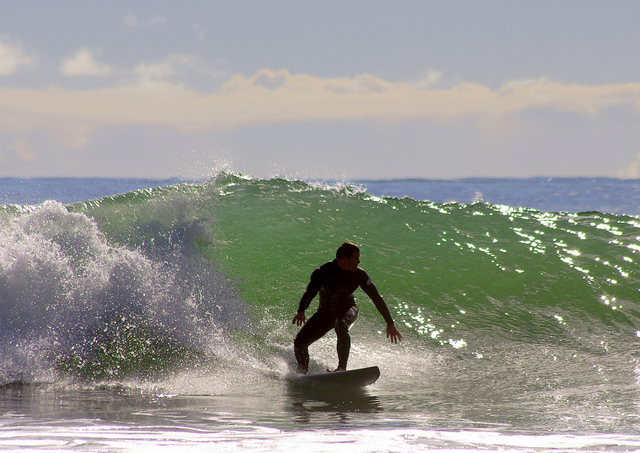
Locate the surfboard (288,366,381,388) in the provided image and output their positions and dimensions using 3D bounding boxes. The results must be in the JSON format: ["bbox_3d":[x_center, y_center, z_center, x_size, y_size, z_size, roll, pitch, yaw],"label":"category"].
[{"bbox_3d":[0.204,2.298,15.691,1.262,0.149,0.370,-5,11,13],"label":"surfboard"}]
